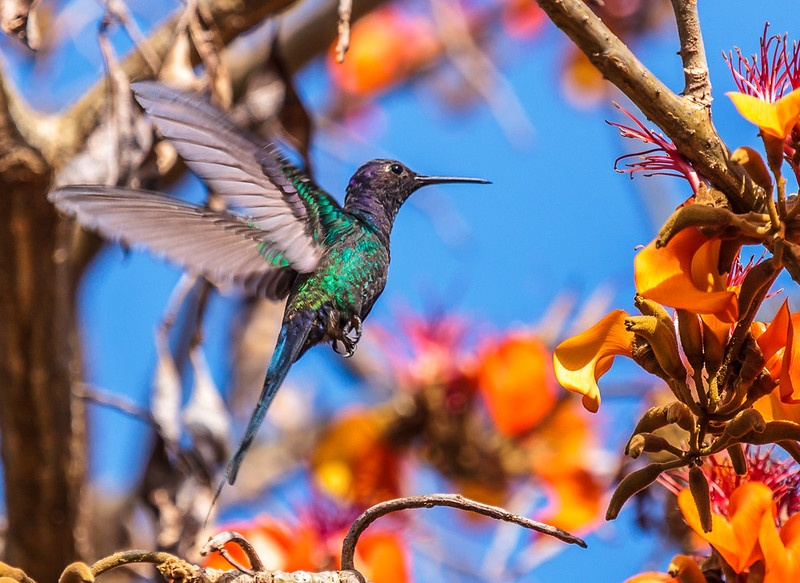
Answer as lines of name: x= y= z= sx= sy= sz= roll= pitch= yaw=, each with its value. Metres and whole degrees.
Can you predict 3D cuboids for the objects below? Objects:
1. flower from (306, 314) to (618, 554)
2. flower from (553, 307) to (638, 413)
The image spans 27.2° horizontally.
flower: x=0.127 y=0.273 z=3.161 sx=0.423 sy=0.187 sz=0.438 roll=1 pitch=-16 yaw=24
flower: x=0.278 y=0.089 z=2.478 sx=0.139 sy=0.097 sz=0.139 roll=-37 pitch=6 yaw=1
